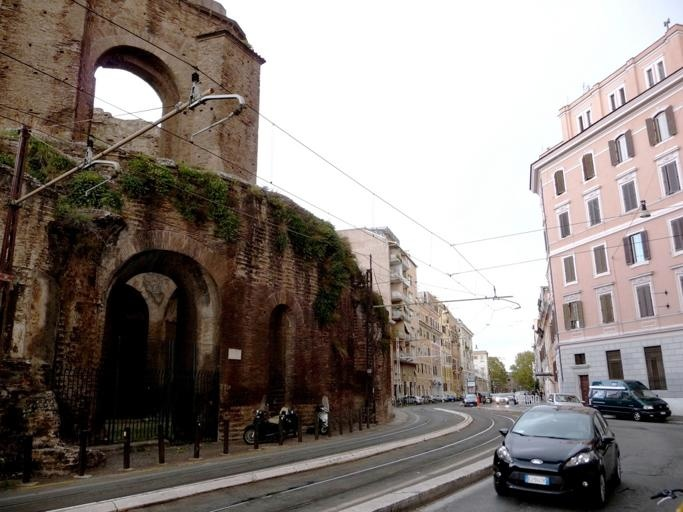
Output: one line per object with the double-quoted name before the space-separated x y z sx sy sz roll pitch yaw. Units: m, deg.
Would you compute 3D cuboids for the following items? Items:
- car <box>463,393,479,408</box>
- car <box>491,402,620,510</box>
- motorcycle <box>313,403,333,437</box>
"car" 12.546 13.997 52.653 1.094 0.953 1.983 -8 -28 10
"car" 4.712 4.276 11.761 2.787 2.060 1.802 6 -20 -27
"motorcycle" -0.881 7.250 23.981 0.820 1.506 0.637 -7 14 -37
